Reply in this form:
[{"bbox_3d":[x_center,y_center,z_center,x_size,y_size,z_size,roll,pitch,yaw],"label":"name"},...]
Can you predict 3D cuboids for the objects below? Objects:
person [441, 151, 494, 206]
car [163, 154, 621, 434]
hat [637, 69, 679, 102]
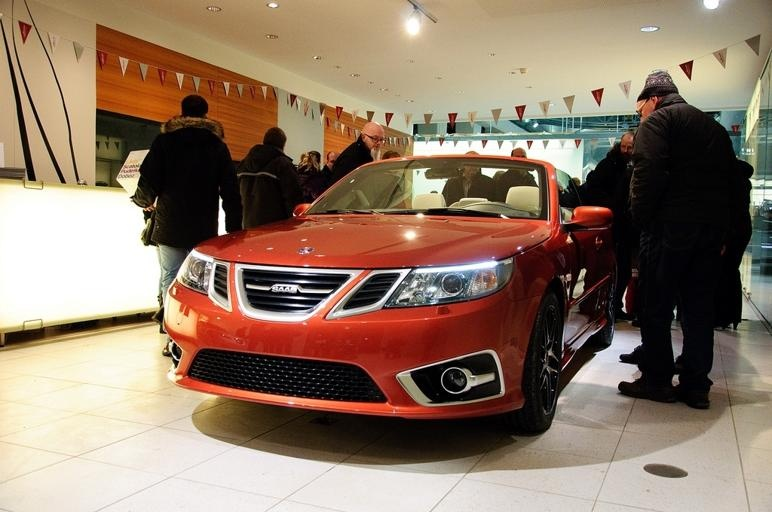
[{"bbox_3d":[0.612,-0.569,3.402,0.476,0.215,0.836,3,32,17],"label":"person"},{"bbox_3d":[0.532,0.091,3.208,1.806,1.043,2.813,0,-1,26],"label":"car"},{"bbox_3d":[2.090,-1.323,3.492,0.332,0.213,0.225,-3,2,26],"label":"hat"}]
